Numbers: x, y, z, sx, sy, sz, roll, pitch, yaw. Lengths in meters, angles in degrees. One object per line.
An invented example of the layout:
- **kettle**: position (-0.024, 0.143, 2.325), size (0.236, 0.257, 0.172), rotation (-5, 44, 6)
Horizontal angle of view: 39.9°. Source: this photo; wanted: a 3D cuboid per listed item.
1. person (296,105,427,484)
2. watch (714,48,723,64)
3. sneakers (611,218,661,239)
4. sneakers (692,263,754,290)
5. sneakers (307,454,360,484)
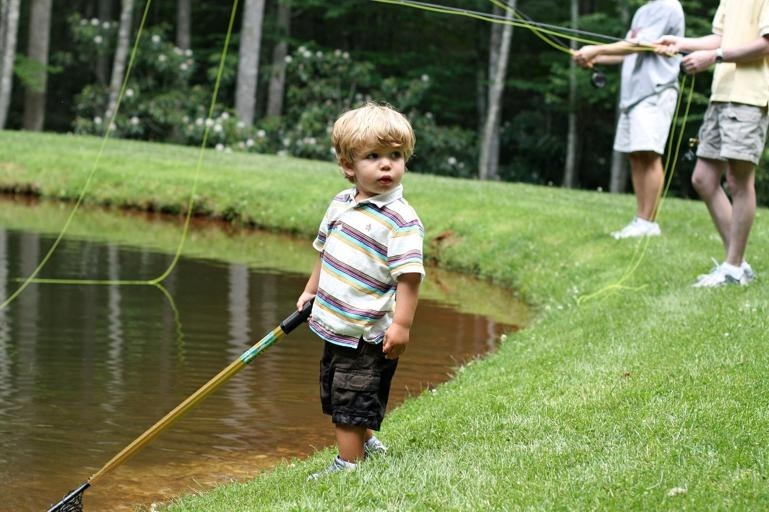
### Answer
- **person**: position (-0.110, 0.163, 5.442), size (0.568, 1.885, 0.382), rotation (4, 5, -3)
- **watch**: position (2.088, -1.242, 6.578), size (0.057, 0.075, 0.074), rotation (1, 2, 5)
- **sneakers**: position (1.755, -0.197, 7.378), size (0.358, 0.129, 0.124), rotation (-1, -1, -2)
- **sneakers**: position (2.238, 0.142, 6.937), size (0.419, 0.160, 0.145), rotation (-11, 12, 28)
- **sneakers**: position (-0.256, 1.085, 5.411), size (0.305, 0.110, 0.098), rotation (-14, -23, 6)
